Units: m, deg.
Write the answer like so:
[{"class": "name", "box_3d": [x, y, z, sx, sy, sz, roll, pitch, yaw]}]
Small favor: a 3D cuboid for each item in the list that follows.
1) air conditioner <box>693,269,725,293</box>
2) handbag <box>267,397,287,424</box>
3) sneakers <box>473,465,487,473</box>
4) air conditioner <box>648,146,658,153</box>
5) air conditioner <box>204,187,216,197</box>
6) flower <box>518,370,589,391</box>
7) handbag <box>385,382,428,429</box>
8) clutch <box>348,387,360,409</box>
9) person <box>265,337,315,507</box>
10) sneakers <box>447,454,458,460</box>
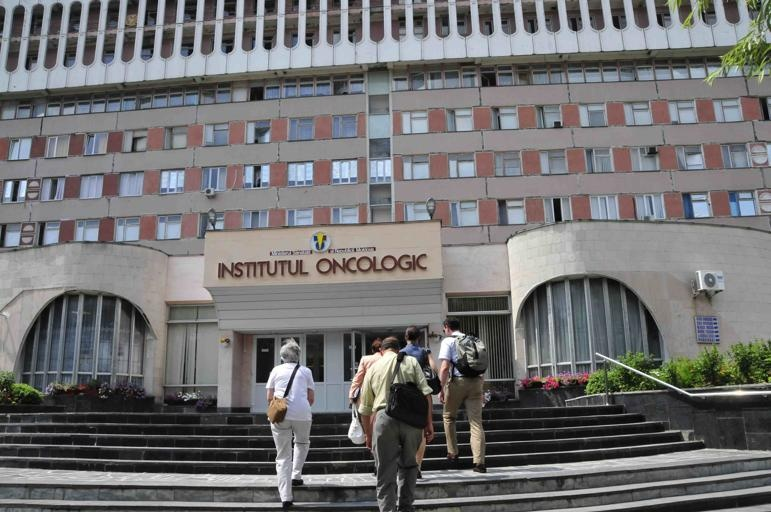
[{"class": "air conditioner", "box_3d": [11.674, 0.945, 26.310, 1.161, 0.875, 0.712, 4, -18, -9]}, {"class": "handbag", "box_3d": [-2.402, 3.440, 16.120, 0.463, 0.574, 0.213, -2, -14, 5]}, {"class": "sneakers", "box_3d": [2.255, 5.064, 17.234, 0.285, 0.182, 0.315, -2, -14, 4]}, {"class": "air conditioner", "box_3d": [14.131, -5.549, 38.267, 0.457, 0.485, 0.371, 0, 0, -7]}, {"class": "air conditioner", "box_3d": [-9.435, -3.417, 38.986, 0.459, 0.346, 0.458, -2, -8, -2]}, {"class": "flower", "box_3d": [6.092, 4.458, 25.717, 2.568, 0.636, 0.647, -12, -17, 37]}, {"class": "handbag", "box_3d": [0.419, 3.074, 14.775, 0.753, 0.733, 0.299, 14, -12, -11]}, {"class": "clutch", "box_3d": [-0.704, 3.432, 16.942, 0.238, 0.666, 0.510, 7, -4, -5]}, {"class": "person", "box_3d": [-2.158, 3.741, 16.273, 0.986, 3.694, 0.635, 9, -17, -34]}, {"class": "sneakers", "box_3d": [1.639, 4.906, 17.716, 0.230, 0.159, 0.119, 9, -11, -12]}]
